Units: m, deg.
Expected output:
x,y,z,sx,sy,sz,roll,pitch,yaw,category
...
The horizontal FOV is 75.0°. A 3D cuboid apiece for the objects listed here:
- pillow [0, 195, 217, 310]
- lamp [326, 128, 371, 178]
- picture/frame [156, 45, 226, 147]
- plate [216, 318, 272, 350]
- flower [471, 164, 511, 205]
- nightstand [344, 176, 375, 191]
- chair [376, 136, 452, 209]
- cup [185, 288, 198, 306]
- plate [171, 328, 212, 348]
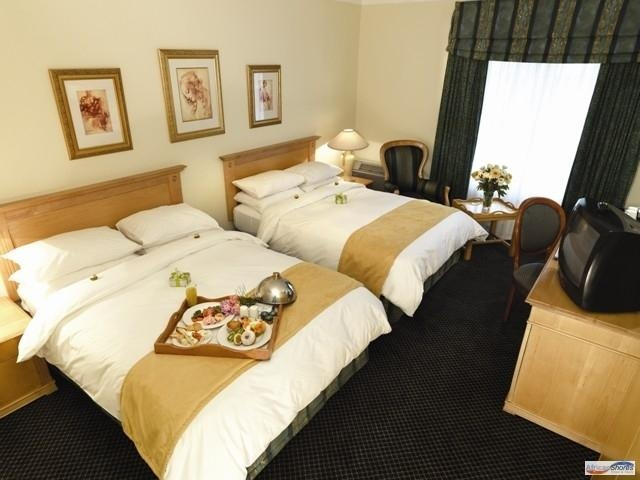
x,y,z,sx,sy,sz,roll,pitch,yaw,category
-2.263,0.023,4.475,0.895,0.443,1.526,21,32,30,pillow
0.456,-1.546,7.354,0.741,0.959,0.776,10,29,22,lamp
-1.627,-1.822,5.169,0.049,1.212,0.991,18,32,34,picture/frame
-0.641,0.794,3.558,0.467,0.129,0.296,-3,25,-7,plate
2.598,-0.840,6.234,0.434,0.521,0.422,-28,37,-37,flower
0.691,-1.028,7.174,0.370,0.261,0.378,15,28,34,nightstand
1.533,-1.004,7.271,1.063,1.240,1.600,-2,27,3,chair
-1.190,0.531,3.861,0.086,0.148,0.084,2,27,-1,cup
-1.091,0.817,3.496,0.181,0.067,0.190,2,11,-6,plate
